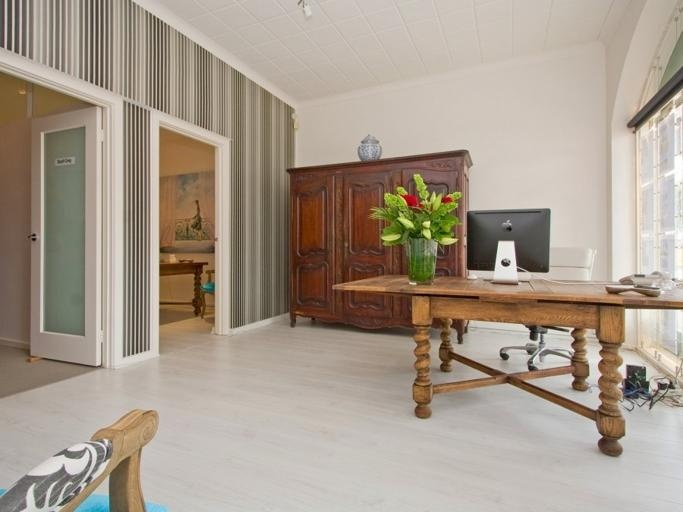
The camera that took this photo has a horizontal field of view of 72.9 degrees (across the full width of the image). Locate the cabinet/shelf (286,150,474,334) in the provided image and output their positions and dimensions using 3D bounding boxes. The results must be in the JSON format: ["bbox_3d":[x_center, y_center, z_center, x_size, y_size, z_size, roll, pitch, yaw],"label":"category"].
[{"bbox_3d":[0.450,-0.137,6.156,2.262,2.167,0.819,0,-1,23],"label":"cabinet/shelf"}]

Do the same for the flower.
[{"bbox_3d":[0.602,-0.167,3.772,0.653,0.751,0.280,0,15,3],"label":"flower"}]

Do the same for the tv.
[{"bbox_3d":[1.352,-0.092,3.737,0.622,0.520,0.206,1,2,21],"label":"tv"}]

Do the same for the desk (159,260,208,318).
[{"bbox_3d":[-2.583,0.534,7.583,0.889,0.809,0.648,-1,-2,9],"label":"desk"}]

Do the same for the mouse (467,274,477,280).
[{"bbox_3d":[1.156,0.186,4.095,0.052,0.018,0.054,3,9,29],"label":"mouse"}]

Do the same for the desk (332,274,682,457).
[{"bbox_3d":[1.423,0.694,3.668,2.063,1.167,0.962,5,16,18],"label":"desk"}]
